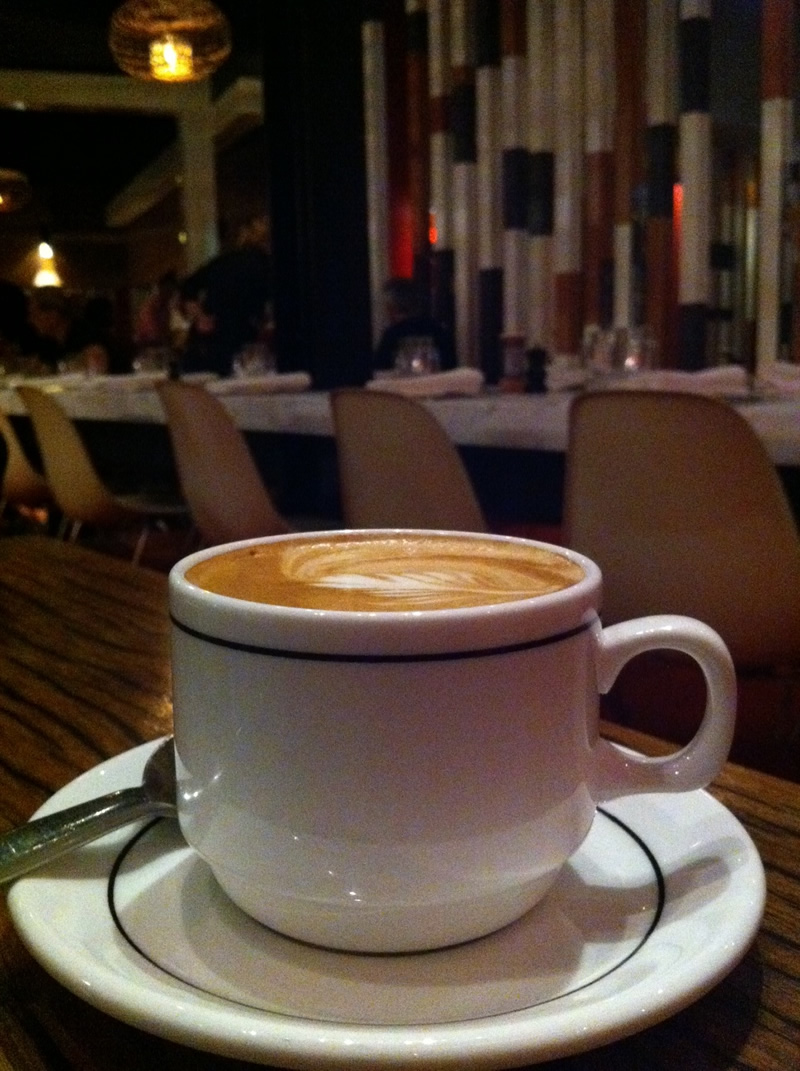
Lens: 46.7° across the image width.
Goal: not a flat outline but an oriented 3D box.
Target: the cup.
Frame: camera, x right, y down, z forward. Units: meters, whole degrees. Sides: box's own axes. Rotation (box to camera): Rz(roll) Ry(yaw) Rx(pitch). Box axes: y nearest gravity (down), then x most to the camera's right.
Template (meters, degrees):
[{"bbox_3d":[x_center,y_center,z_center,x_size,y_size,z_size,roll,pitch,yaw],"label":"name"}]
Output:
[{"bbox_3d":[0.003,0.053,0.297,0.155,0.103,0.143,3,4,0],"label":"cup"}]
